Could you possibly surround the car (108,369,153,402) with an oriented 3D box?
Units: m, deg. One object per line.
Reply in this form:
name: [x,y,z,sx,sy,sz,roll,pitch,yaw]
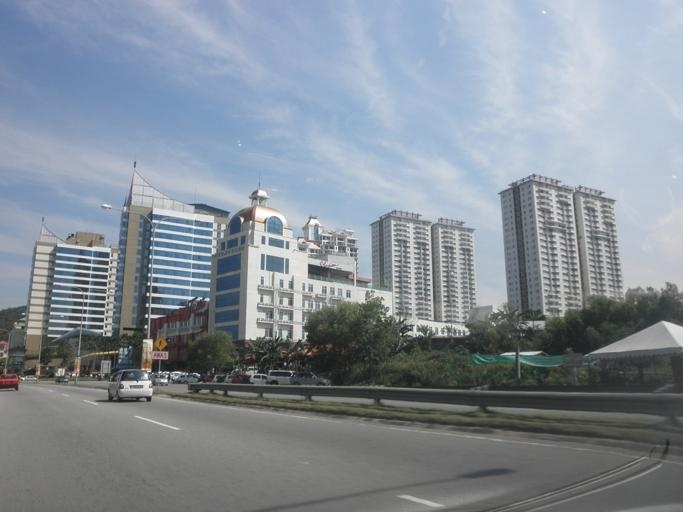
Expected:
car: [-11.023,6.697,30.748,1.481,1.248,2.611,4,-7,-28]
